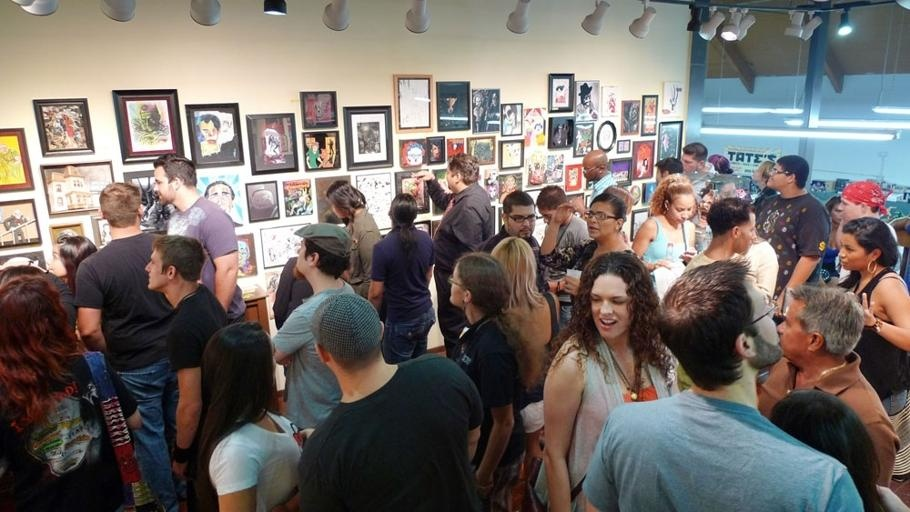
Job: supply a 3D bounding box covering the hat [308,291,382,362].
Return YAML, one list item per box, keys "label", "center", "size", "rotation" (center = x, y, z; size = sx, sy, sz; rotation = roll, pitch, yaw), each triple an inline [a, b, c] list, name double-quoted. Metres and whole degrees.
- label: "hat"
  center: [-0.647, 0.377, 3.245]
  size: [0.328, 0.230, 0.428]
  rotation: [-20, 39, -16]

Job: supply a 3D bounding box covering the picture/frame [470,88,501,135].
- label: "picture/frame"
  center: [0.350, -1.762, 6.693]
  size: [0.596, 0.640, 0.068]
  rotation: [-5, 10, -35]

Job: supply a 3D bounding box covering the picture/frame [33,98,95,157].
- label: "picture/frame"
  center: [-3.602, -1.186, 5.055]
  size: [0.495, 0.556, 0.064]
  rotation: [-15, 14, -28]

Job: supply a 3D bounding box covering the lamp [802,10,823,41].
- label: "lamp"
  center: [4.814, -3.135, 7.501]
  size: [0.191, 0.430, 1.061]
  rotation: [3, 12, 31]

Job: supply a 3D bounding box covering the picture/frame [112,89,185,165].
- label: "picture/frame"
  center: [-2.956, -1.234, 5.268]
  size: [0.801, 0.856, 0.065]
  rotation: [-6, 10, -25]

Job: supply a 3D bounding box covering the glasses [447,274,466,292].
- label: "glasses"
  center: [0.007, 0.201, 3.881]
  size: [0.125, 0.037, 0.121]
  rotation: [30, 10, 25]

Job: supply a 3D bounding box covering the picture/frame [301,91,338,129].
- label: "picture/frame"
  center: [-1.464, -1.566, 5.881]
  size: [0.429, 0.379, 0.054]
  rotation: [-5, 12, -30]

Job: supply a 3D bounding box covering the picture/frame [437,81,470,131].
- label: "picture/frame"
  center: [-0.042, -1.780, 6.499]
  size: [0.599, 0.644, 0.040]
  rotation: [-6, 11, -35]

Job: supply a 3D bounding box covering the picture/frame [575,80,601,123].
- label: "picture/frame"
  center: [1.747, -2.076, 7.367]
  size: [0.588, 0.716, 0.079]
  rotation: [-6, 11, -33]

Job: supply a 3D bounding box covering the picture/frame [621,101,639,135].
- label: "picture/frame"
  center: [2.433, -1.945, 7.738]
  size: [0.509, 0.543, 0.039]
  rotation: [-5, 8, -40]

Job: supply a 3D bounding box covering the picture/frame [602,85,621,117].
- label: "picture/frame"
  center: [2.118, -2.133, 7.555]
  size: [0.458, 0.495, 0.051]
  rotation: [-6, 11, -35]

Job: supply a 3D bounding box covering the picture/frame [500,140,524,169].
- label: "picture/frame"
  center: [0.694, -1.285, 6.943]
  size: [0.388, 0.340, 0.037]
  rotation: [-5, 12, -33]

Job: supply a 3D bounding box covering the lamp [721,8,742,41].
- label: "lamp"
  center: [3.434, -2.865, 6.866]
  size: [0.201, 0.387, 0.683]
  rotation: [2, 12, 28]

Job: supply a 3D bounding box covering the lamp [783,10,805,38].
- label: "lamp"
  center: [4.391, -3.008, 7.165]
  size: [0.188, 0.325, 0.493]
  rotation: [3, 12, 30]

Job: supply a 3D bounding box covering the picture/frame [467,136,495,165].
- label: "picture/frame"
  center: [0.296, -1.280, 6.644]
  size: [0.481, 0.376, 0.038]
  rotation: [-7, 2, -34]

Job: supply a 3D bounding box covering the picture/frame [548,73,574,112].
- label: "picture/frame"
  center: [1.351, -2.130, 7.147]
  size: [0.523, 0.586, 0.049]
  rotation: [-6, 13, -32]

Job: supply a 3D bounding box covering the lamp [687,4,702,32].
- label: "lamp"
  center: [2.863, -2.847, 6.620]
  size: [0.121, 0.339, 0.559]
  rotation: [2, 12, 25]

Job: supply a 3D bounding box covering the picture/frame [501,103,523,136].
- label: "picture/frame"
  center: [0.689, -1.711, 6.882]
  size: [0.422, 0.432, 0.032]
  rotation: [-7, 12, -35]

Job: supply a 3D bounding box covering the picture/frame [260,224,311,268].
- label: "picture/frame"
  center: [-1.687, -0.104, 5.411]
  size: [0.473, 0.327, 0.016]
  rotation: [-13, 24, -32]

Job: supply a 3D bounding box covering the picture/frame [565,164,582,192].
- label: "picture/frame"
  center: [1.577, -1.064, 7.438]
  size: [0.379, 0.304, 0.037]
  rotation: [6, 5, -41]

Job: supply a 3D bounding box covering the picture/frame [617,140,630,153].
- label: "picture/frame"
  center: [2.342, -1.537, 7.730]
  size: [0.194, 0.147, 0.014]
  rotation: [-9, 14, -29]

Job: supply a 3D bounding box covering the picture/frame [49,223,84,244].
- label: "picture/frame"
  center: [-3.570, -0.202, 5.053]
  size: [0.229, 0.181, 0.025]
  rotation: [-1, -4, -24]

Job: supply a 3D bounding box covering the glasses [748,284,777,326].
- label: "glasses"
  center: [1.607, 0.244, 2.872]
  size: [0.222, 0.196, 0.094]
  rotation: [-12, 14, -38]
